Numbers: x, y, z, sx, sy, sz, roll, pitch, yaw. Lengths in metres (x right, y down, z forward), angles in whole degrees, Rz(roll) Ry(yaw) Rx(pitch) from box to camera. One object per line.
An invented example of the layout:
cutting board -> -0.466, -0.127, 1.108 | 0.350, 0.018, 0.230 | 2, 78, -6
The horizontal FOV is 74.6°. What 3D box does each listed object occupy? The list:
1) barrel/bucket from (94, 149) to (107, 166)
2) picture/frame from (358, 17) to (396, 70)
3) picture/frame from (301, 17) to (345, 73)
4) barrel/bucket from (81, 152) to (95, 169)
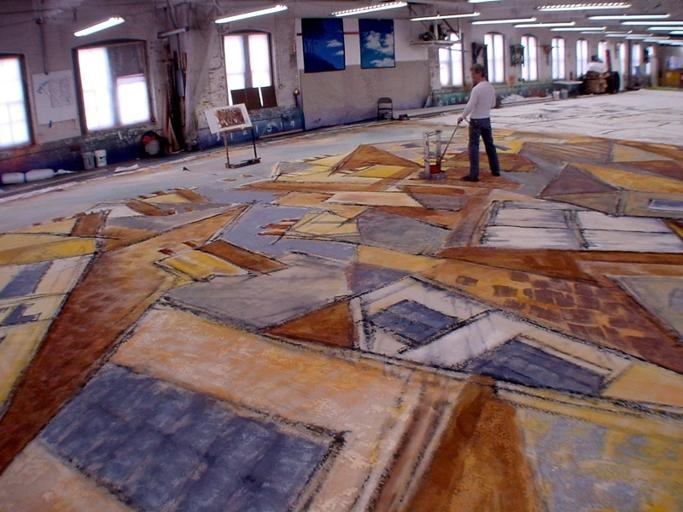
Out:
barrel/bucket -> -5.721, -2.351, 10.577 | 0.170, 0.407, 0.304 | -7, 16, 5
picture/frame -> 1.233, -7.362, 15.399 | 1.657, 1.637, 0.056 | -17, 19, -32
picture/frame -> -0.586, -6.670, 14.077 | 1.670, 1.626, 0.073 | -19, 20, -37
barrel/bucket -> -5.869, -2.261, 10.401 | 0.329, 0.390, 0.188 | -17, 19, -30
